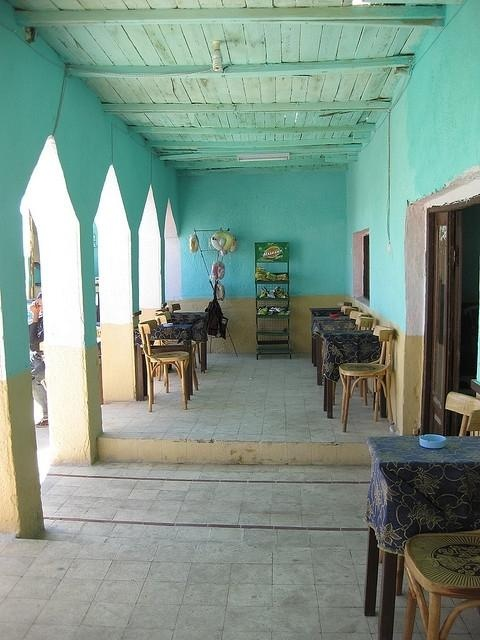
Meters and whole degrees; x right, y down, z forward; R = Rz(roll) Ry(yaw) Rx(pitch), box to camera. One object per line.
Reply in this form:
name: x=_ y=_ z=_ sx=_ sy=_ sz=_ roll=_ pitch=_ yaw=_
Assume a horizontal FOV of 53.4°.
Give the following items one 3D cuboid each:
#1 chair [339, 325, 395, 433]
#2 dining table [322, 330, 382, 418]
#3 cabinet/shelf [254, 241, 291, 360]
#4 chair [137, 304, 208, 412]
chair: x=1.276 y=0.575 z=4.855 sx=0.789 sy=0.975 sz=0.459 roll=-2 pitch=2 yaw=-30
dining table: x=1.093 y=0.547 z=5.202 sx=0.744 sy=1.023 sz=0.794 roll=0 pitch=12 yaw=-3
cabinet/shelf: x=0.606 y=-0.387 z=9.057 sx=0.674 sy=2.131 sz=0.621 roll=-1 pitch=2 yaw=3
chair: x=-0.873 y=0.506 z=6.235 sx=0.859 sy=1.018 sz=1.844 roll=-2 pitch=1 yaw=-5
